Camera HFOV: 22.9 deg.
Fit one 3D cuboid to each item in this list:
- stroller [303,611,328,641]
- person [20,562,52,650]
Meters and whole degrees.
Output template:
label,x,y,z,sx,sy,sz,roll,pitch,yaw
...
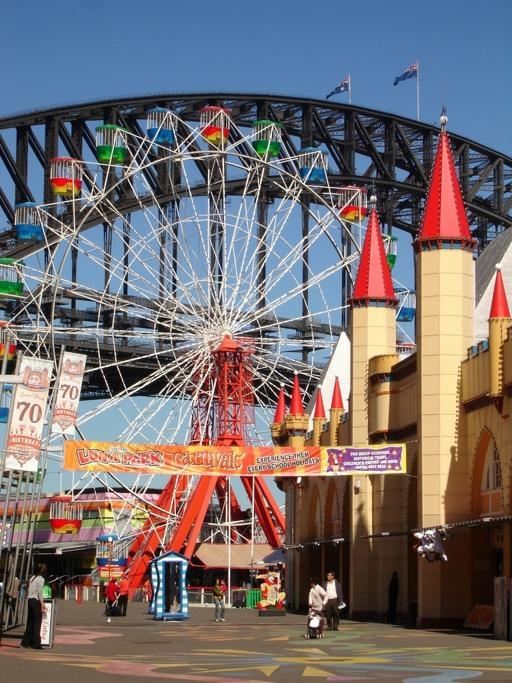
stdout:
label,x,y,z,sx,sy,sz,roll,pitch,yaw
stroller,1.271,6.194,27.536,0.439,0.655,0.647,1,-18,2
person,-3.980,4.784,22.836,0.398,1.548,1.526,2,-15,-9
